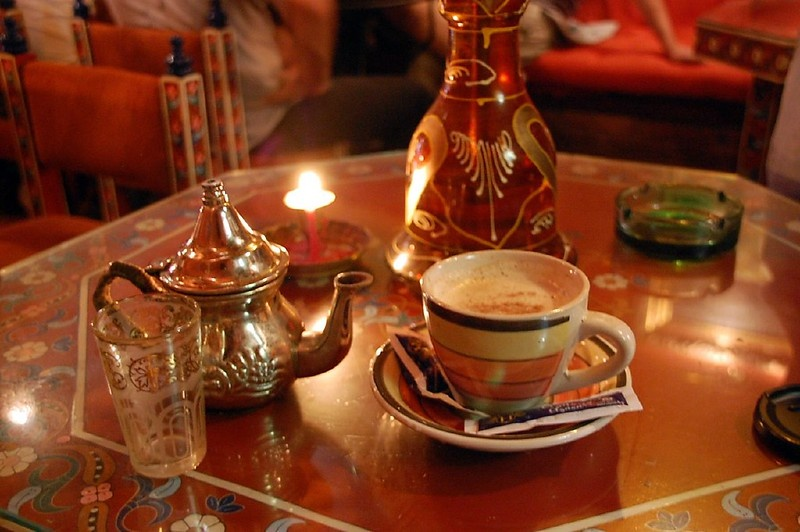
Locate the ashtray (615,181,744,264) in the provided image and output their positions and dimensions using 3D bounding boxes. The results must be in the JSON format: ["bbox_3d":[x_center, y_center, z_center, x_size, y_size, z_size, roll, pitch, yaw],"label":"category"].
[{"bbox_3d":[0.440,-0.074,1.040,0.156,0.051,0.154,3,27,15],"label":"ashtray"}]

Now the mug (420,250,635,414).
[{"bbox_3d":[0.141,0.086,0.740,0.226,0.136,0.179,13,28,32],"label":"mug"}]

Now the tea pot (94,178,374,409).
[{"bbox_3d":[-0.165,0.012,0.801,0.358,0.261,0.191,1,29,-1],"label":"tea pot"}]

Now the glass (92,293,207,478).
[{"bbox_3d":[-0.257,0.125,0.696,0.105,0.171,0.101,-4,29,-7],"label":"glass"}]
